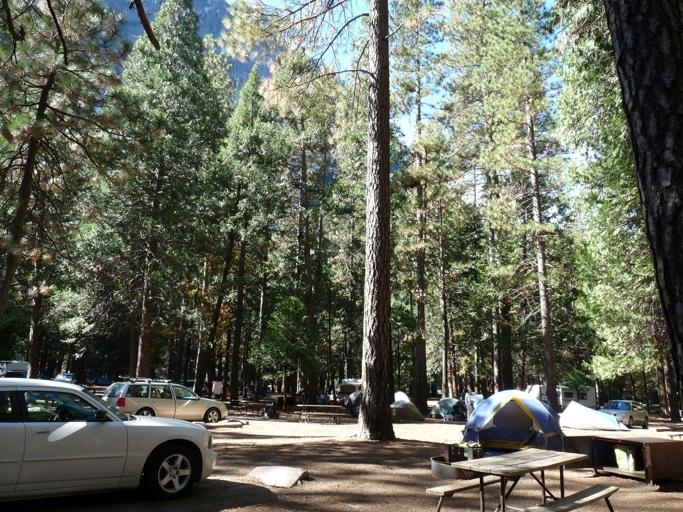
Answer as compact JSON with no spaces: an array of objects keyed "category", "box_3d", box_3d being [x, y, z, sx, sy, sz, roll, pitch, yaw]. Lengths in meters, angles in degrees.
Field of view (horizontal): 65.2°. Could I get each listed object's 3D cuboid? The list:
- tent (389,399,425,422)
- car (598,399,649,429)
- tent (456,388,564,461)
[{"category":"tent","box_3d":[2.940,6.988,23.969,1.494,0.636,1.254,0,-7,3]},{"category":"car","box_3d":[15.877,8.731,29.728,1.838,1.541,4.160,-11,-21,32]},{"category":"tent","box_3d":[4.100,4.094,12.863,1.790,0.940,1.682,0,-21,1]}]
